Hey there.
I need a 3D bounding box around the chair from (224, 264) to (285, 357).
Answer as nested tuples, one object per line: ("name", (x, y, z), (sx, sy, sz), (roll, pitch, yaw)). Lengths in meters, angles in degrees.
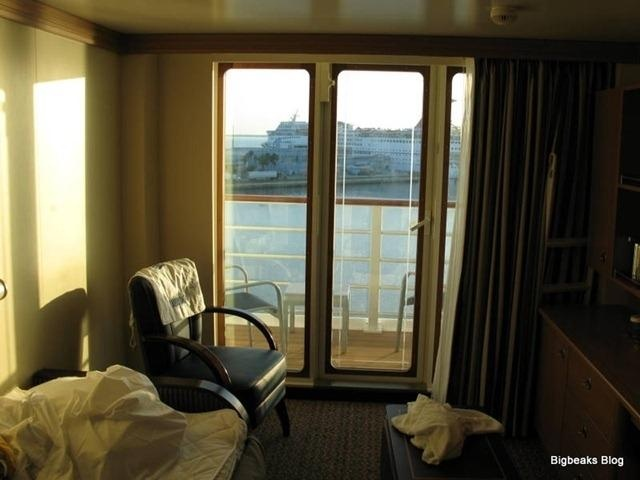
("chair", (-0.531, 0.502, 4.137), (0.457, 0.697, 0.427), (-5, 12, -13))
